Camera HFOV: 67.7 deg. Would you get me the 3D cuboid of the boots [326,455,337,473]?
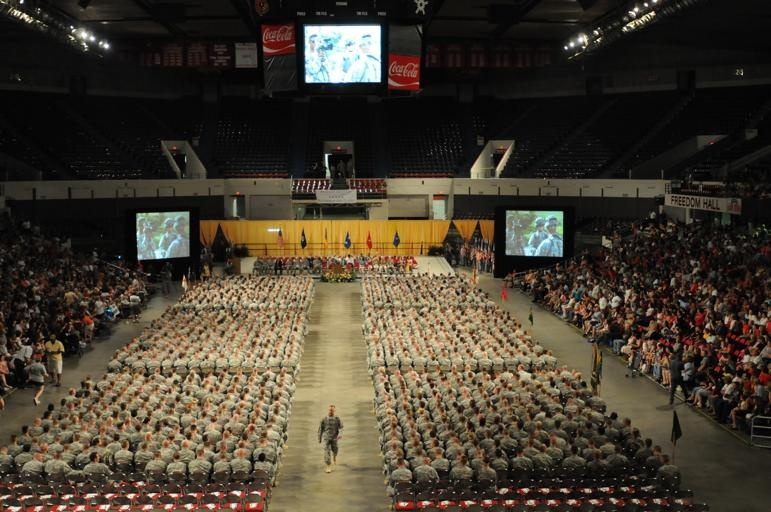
[{"bbox_3d":[-1.678,6.345,17.723,0.301,0.425,0.797,3,2,0],"label":"boots"}]
